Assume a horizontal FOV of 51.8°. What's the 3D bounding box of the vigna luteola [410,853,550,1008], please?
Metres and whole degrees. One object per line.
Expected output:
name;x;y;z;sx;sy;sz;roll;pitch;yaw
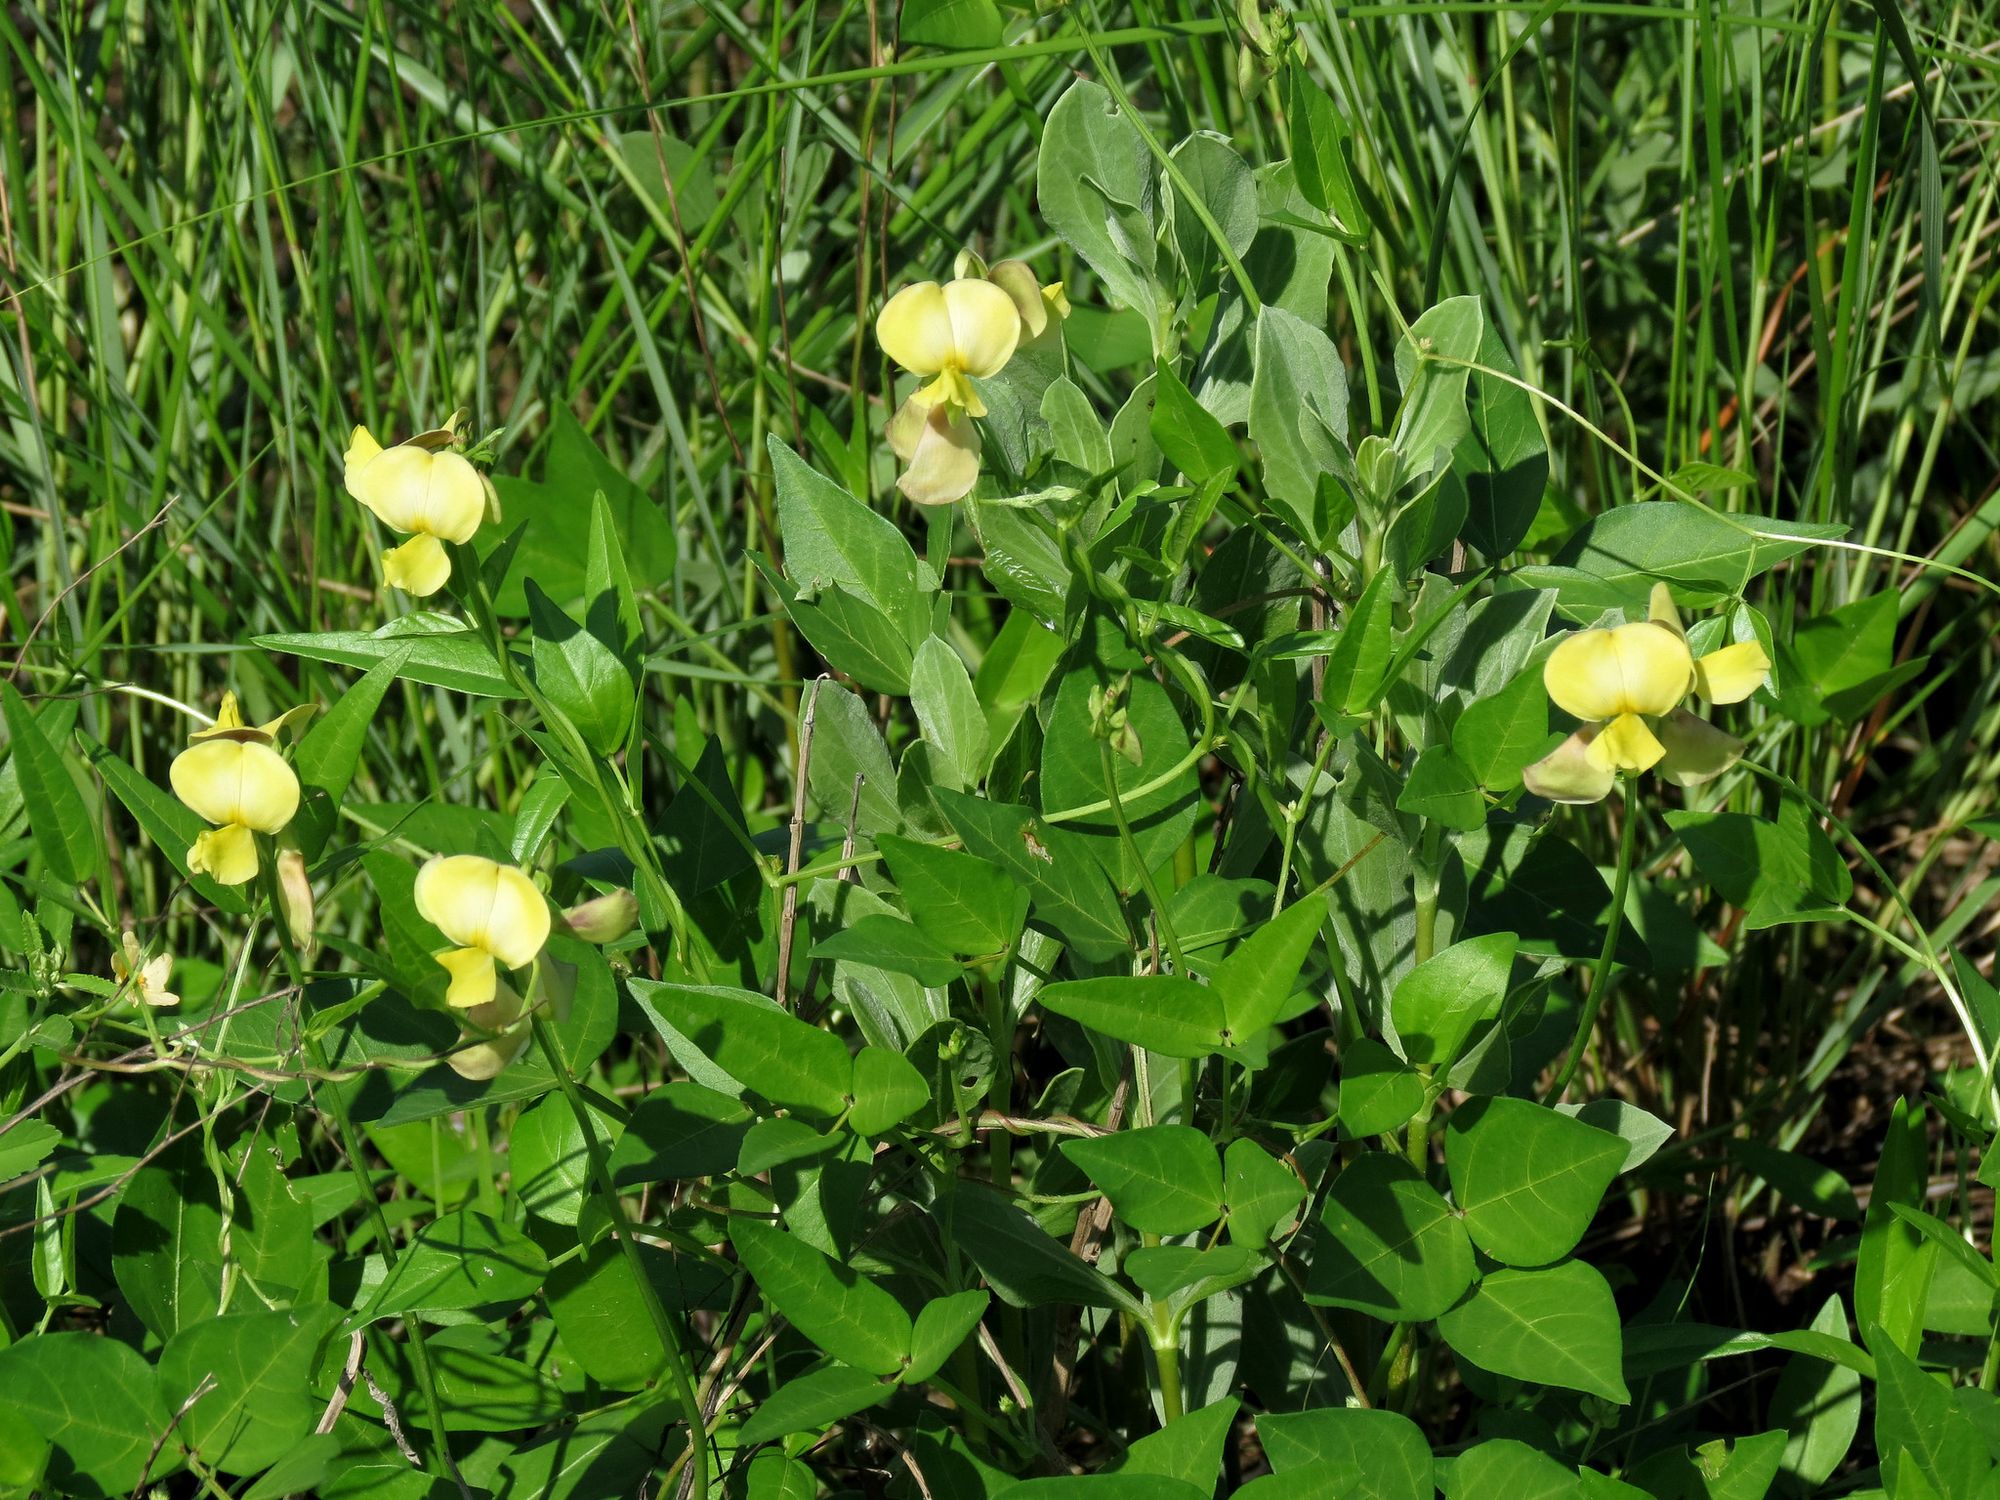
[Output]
vigna luteola;-0.344;0.115;1.370;0.084;0.056;0.118;11;26;-19

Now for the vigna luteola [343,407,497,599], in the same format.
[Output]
vigna luteola;-0.405;-0.182;1.440;0.093;0.045;0.123;25;85;2

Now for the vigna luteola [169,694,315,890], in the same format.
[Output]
vigna luteola;-0.533;0.024;1.446;0.064;0.049;0.129;6;47;-9

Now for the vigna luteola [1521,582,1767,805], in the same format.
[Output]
vigna luteola;0.412;-0.032;1.388;0.130;0.168;0.065;-11;56;-36

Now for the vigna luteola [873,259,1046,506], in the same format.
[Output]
vigna luteola;-0.042;-0.265;1.475;0.038;0.161;0.103;-26;59;-33
